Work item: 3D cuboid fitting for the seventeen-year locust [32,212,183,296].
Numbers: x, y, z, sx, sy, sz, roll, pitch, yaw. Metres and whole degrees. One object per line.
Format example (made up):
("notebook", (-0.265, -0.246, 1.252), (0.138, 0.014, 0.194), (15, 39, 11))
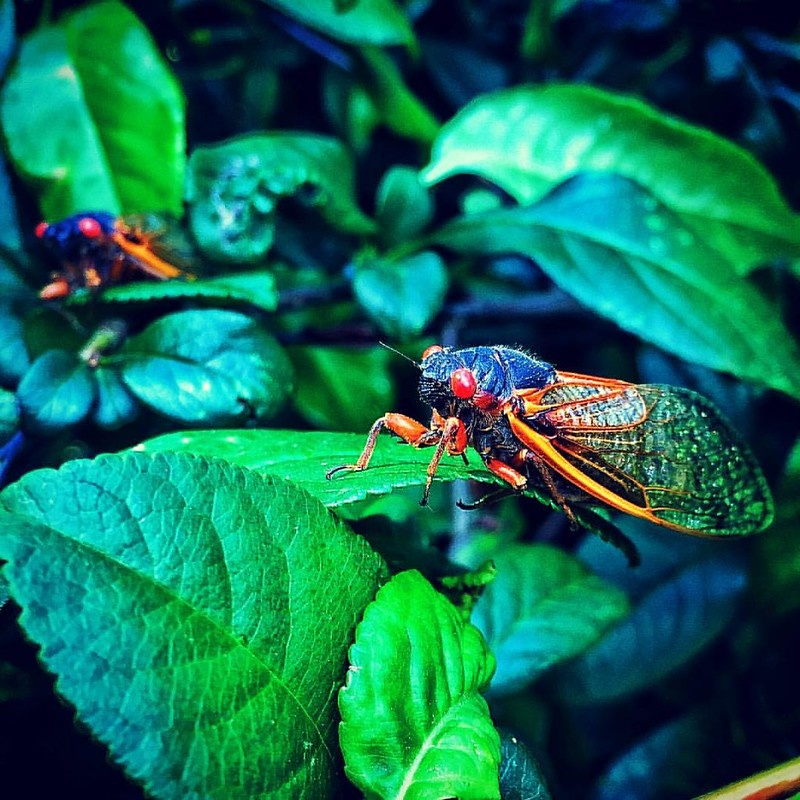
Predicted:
("seventeen-year locust", (-0.289, -0.143, 0.966), (0.099, 0.034, 0.105), (-21, 14, -35))
